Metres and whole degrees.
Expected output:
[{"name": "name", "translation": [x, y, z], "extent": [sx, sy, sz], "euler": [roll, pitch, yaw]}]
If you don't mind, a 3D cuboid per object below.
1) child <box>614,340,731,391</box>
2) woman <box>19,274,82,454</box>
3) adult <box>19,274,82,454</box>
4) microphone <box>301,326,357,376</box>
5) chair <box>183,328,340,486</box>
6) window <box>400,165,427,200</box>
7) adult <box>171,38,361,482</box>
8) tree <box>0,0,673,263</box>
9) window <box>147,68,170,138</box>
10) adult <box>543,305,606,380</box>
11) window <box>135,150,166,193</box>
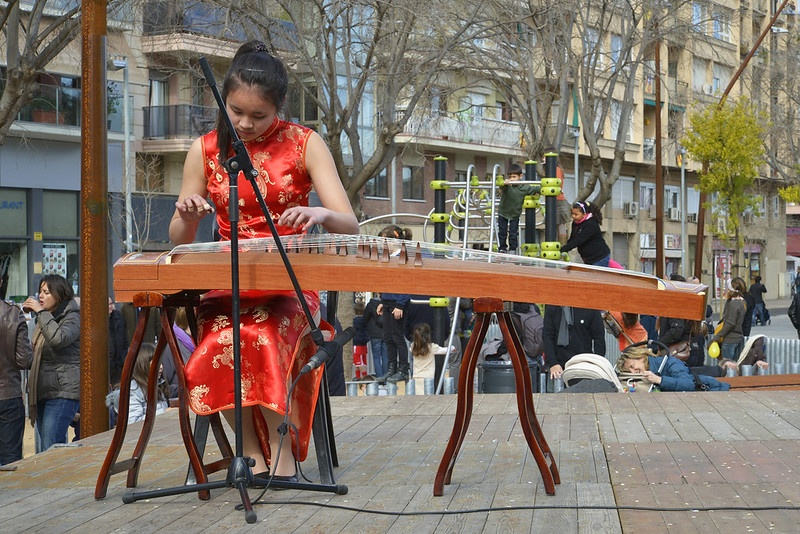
[{"name": "child", "translation": [2.983, 1.144, 10.673], "extent": [1.259, 0.548, 0.931], "euler": [5, -1, -13]}, {"name": "woman", "translation": [-3.566, 1.227, 10.021], "extent": [0.649, 2.239, 0.857], "euler": [5, -10, -40]}, {"name": "adult", "translation": [-3.570, 1.231, 9.982], "extent": [0.640, 2.226, 0.830], "euler": [2, -8, -33]}, {"name": "microphone", "translation": [-0.420, 0.529, 6.602], "extent": [0.147, 0.136, 0.710], "euler": [13, 22, 25]}, {"name": "chair", "translation": [-0.842, 1.129, 7.442], "extent": [1.025, 1.252, 1.318], "euler": [-1, -4, 14]}, {"name": "window", "translation": [0.421, -3.016, 34.778], "extent": [0.072, 1.050, 1.026], "euler": [-2, 17, 31]}, {"name": "adult", "translation": [-0.961, -0.045, 6.798], "extent": [1.236, 2.988, 1.584], "euler": [-3, 11, -17]}, {"name": "tree", "translation": [-0.114, -3.738, 25.996], "extent": [13.607, 4.479, 9.169], "euler": [1, 1, 37]}, {"name": "window", "translation": [-6.821, -4.508, 27.451], "extent": [0.775, 2.012, 0.186], "euler": [-2, 20, -15]}, {"name": "adult", "translation": [2.083, 0.840, 11.775], "extent": [0.691, 0.963, 0.558], "euler": [5, -17, 2]}, {"name": "window", "translation": [-7.031, -2.577, 27.394], "extent": [1.522, 1.146, 0.078], "euler": [6, 6, 42]}]
